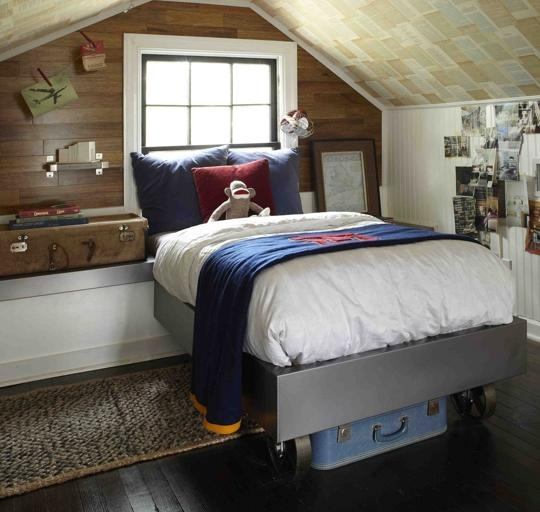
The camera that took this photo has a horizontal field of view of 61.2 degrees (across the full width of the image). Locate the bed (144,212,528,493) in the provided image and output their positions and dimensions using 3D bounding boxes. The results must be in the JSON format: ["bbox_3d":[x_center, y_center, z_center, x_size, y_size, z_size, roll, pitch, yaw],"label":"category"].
[{"bbox_3d":[0.214,0.282,2.062,0.918,0.532,1.237,-4,6,-26],"label":"bed"}]

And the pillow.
[{"bbox_3d":[-0.393,-0.434,3.021,0.731,0.377,0.190,-8,-8,-17],"label":"pillow"}]

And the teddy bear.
[{"bbox_3d":[-0.196,-0.319,2.922,0.449,0.285,0.139,-2,7,-33],"label":"teddy bear"}]
